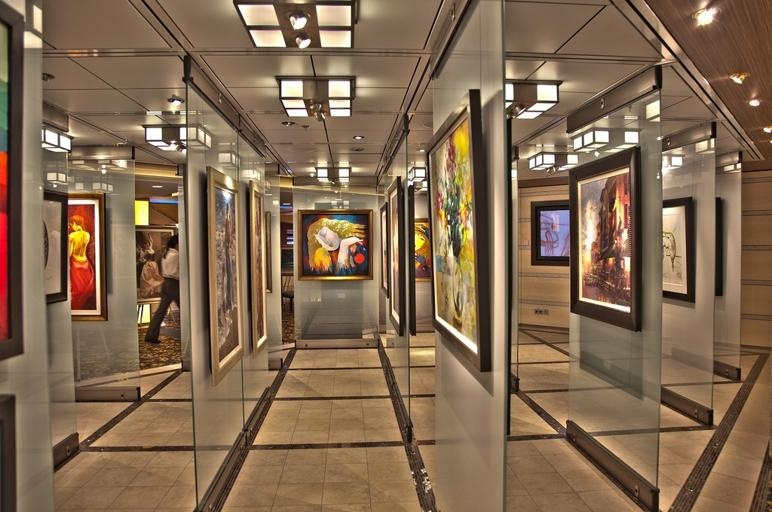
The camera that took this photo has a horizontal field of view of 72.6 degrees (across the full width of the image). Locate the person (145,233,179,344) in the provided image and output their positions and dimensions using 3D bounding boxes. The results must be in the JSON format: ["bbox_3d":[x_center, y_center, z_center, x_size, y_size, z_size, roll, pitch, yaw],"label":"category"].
[{"bbox_3d":[-4.275,0.646,9.957,0.576,2.098,1.306,-1,1,-24],"label":"person"}]
